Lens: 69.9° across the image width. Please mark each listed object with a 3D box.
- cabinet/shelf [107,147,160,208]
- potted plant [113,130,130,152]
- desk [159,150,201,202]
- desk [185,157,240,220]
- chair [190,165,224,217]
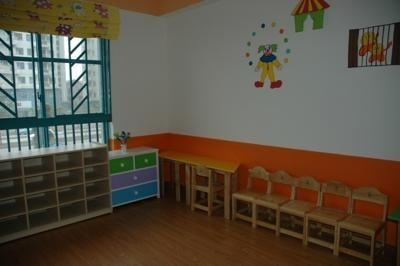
[{"bbox_3d":[-1.582,0.950,6.293,1.231,1.051,0.718,-8,9,-41],"label":"cabinet/shelf"},{"bbox_3d":[-1.699,0.169,6.316,0.416,0.473,0.415,1,10,6],"label":"potted plant"},{"bbox_3d":[-0.599,1.040,6.491,0.537,0.718,0.964,2,-9,25],"label":"desk"},{"bbox_3d":[0.390,0.989,6.156,1.305,1.206,0.966,3,4,33],"label":"desk"},{"bbox_3d":[0.225,1.136,5.954,0.780,0.888,0.732,1,3,-14],"label":"chair"}]
